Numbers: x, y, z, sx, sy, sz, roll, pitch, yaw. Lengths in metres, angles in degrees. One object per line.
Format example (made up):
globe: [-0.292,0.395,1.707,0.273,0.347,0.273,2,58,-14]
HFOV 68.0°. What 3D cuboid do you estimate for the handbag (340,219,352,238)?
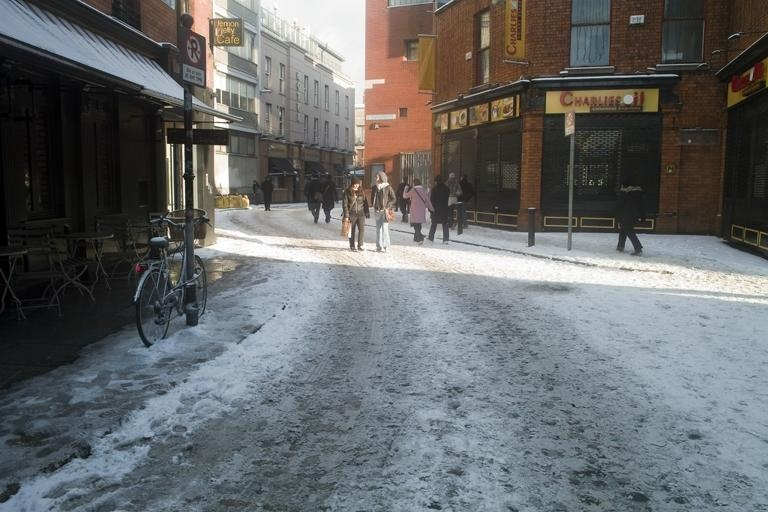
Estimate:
handbag: [-1.083,-0.826,16.208,0.198,0.509,0.390,2,10,5]

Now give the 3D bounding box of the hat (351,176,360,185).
hat: [-0.814,-2.154,16.210,0.195,0.162,0.206,1,4,0]

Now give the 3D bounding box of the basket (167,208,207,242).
basket: [-3.021,-0.466,8.977,0.534,0.362,0.521,-4,4,-43]

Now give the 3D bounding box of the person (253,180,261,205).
person: [-9.477,-4.639,42.392,0.416,1.805,1.428,-3,11,-19]

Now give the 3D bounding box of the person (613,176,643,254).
person: [6.731,-0.965,15.591,0.694,1.773,0.827,5,11,23]

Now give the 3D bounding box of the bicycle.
bicycle: [-3.005,0.259,8.223,0.863,1.605,2.469,0,8,2]
